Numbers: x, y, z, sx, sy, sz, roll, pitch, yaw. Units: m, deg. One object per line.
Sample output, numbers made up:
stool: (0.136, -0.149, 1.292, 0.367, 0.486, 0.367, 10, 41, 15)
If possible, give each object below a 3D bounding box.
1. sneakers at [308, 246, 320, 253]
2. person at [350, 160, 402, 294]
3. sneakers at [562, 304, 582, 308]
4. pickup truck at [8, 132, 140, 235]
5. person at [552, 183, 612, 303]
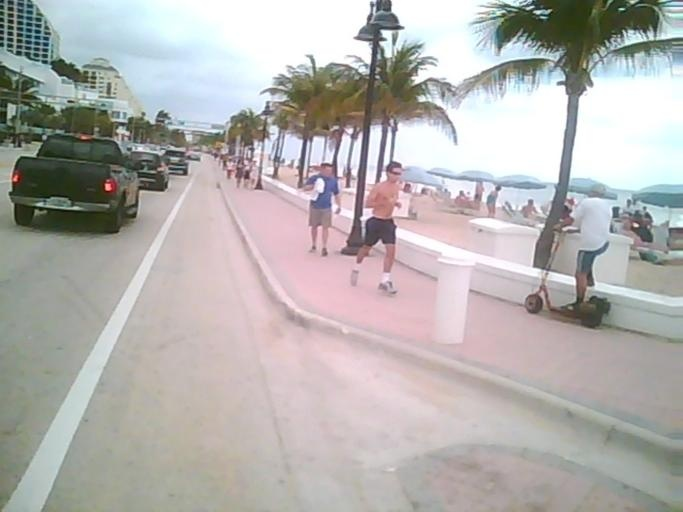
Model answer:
sneakers: (-0.786, -0.178, 12.772, 0.266, 0.205, 0.100, 10, 15, 18)
person: (0.706, -0.605, 9.048, 0.907, 2.515, 0.969, 4, 9, 1)
sneakers: (3.941, 0.876, 7.899, 0.096, 0.127, 0.293, -2, -2, -30)
pickup truck: (-7.466, -2.177, 13.795, 2.270, 2.009, 4.258, 6, 18, -10)
person: (4.199, -0.130, 7.981, 0.602, 2.226, 1.000, 11, 12, 36)
